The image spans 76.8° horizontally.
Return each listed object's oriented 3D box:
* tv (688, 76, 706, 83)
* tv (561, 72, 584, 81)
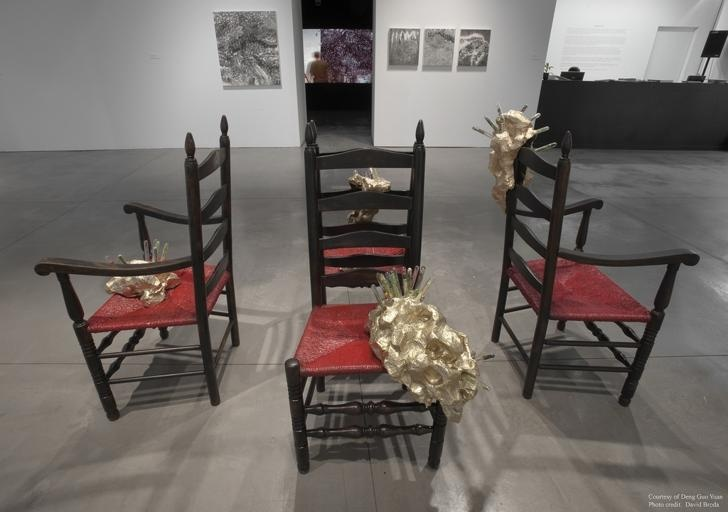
[{"bbox_3d":[6.255,-3.372,8.660,0.243,0.102,0.745,16,28,29],"label":"tv"},{"bbox_3d":[3.780,-3.317,8.363,0.368,0.141,0.694,10,25,18],"label":"tv"}]
